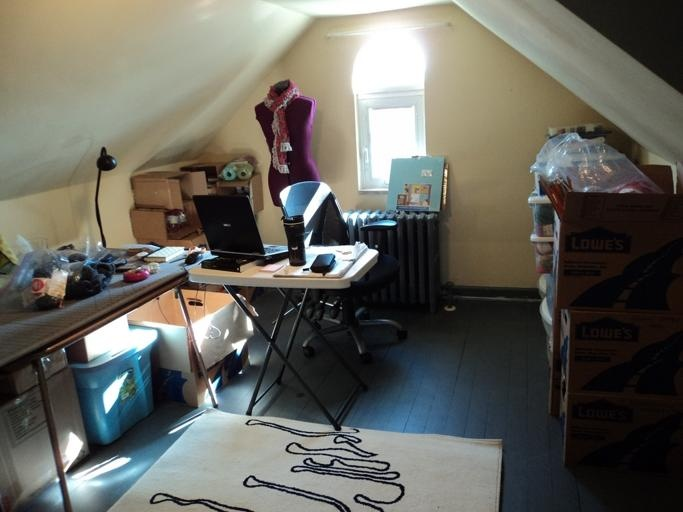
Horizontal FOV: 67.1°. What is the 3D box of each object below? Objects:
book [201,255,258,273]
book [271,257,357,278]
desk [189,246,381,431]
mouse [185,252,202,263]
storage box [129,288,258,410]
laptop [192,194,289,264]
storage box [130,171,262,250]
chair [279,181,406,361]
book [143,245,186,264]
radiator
[{"bbox_3d":[-0.652,0.035,2.861,0.146,0.037,0.140,6,17,25],"label":"book"},{"bbox_3d":[-0.139,0.067,2.732,0.390,0.059,0.258,-5,11,18],"label":"book"},{"bbox_3d":[-0.305,0.343,3.196,1.176,1.160,0.987,0,11,16],"label":"desk"},{"bbox_3d":[-0.891,0.011,3.055,0.046,0.024,0.086,2,19,9],"label":"mouse"},{"bbox_3d":[-1.017,0.520,3.552,0.722,0.731,0.720,8,23,21],"label":"storage box"},{"bbox_3d":[-0.569,-0.187,2.926,0.385,0.363,0.403,4,15,24],"label":"laptop"},{"bbox_3d":[-1.432,-0.411,4.481,0.718,0.495,0.765,0,16,-1],"label":"storage box"},{"bbox_3d":[-0.004,0.078,3.712,0.721,1.176,0.746,1,10,40],"label":"chair"},{"bbox_3d":[-1.111,-0.013,3.250,0.265,0.068,0.236,-15,13,-32],"label":"book"},{"bbox_3d":[0.548,-0.014,4.279,0.619,0.957,0.279,2,10,14],"label":"radiator"}]
